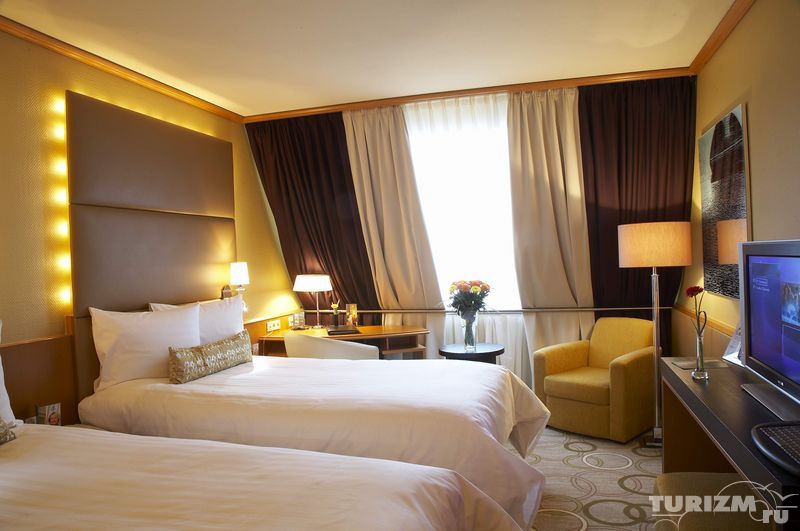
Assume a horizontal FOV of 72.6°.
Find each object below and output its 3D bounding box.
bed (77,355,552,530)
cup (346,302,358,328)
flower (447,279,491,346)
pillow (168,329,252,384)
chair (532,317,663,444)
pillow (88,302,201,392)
[{"bbox_3d":[-0.609,1.141,4.330,2.827,0.701,1.700,-1,-2,12],"label":"bed"},{"bbox_3d":[-0.596,0.628,6.749,0.118,0.278,0.169,-4,4,-15],"label":"cup"},{"bbox_3d":[0.803,0.543,6.228,0.456,0.777,0.479,1,-4,15],"label":"flower"},{"bbox_3d":[-1.743,0.865,5.020,0.198,0.289,0.881,-9,0,30],"label":"pillow"},{"bbox_3d":[2.104,1.155,5.756,1.135,1.144,1.237,0,1,29],"label":"chair"},{"bbox_3d":[-2.266,0.731,5.023,0.948,0.704,0.325,-2,1,-45],"label":"pillow"}]
